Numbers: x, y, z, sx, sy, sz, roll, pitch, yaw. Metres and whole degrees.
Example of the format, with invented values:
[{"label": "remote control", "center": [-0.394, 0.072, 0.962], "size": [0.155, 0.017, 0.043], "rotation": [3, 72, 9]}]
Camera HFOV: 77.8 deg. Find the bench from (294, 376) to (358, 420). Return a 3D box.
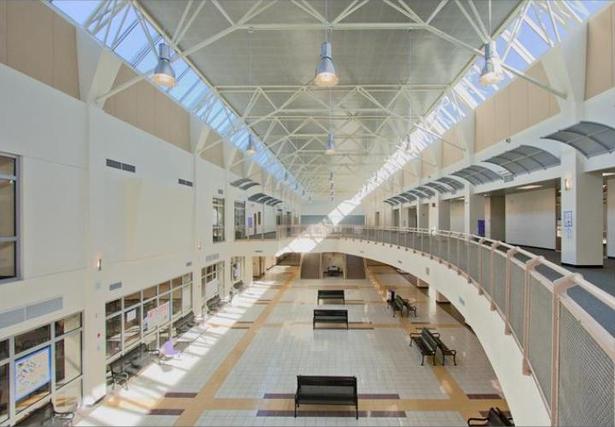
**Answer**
[{"label": "bench", "center": [0.670, 6.602, 14.405], "size": [2.312, 1.752, 1.266], "rotation": [-2, -87, 0]}]
